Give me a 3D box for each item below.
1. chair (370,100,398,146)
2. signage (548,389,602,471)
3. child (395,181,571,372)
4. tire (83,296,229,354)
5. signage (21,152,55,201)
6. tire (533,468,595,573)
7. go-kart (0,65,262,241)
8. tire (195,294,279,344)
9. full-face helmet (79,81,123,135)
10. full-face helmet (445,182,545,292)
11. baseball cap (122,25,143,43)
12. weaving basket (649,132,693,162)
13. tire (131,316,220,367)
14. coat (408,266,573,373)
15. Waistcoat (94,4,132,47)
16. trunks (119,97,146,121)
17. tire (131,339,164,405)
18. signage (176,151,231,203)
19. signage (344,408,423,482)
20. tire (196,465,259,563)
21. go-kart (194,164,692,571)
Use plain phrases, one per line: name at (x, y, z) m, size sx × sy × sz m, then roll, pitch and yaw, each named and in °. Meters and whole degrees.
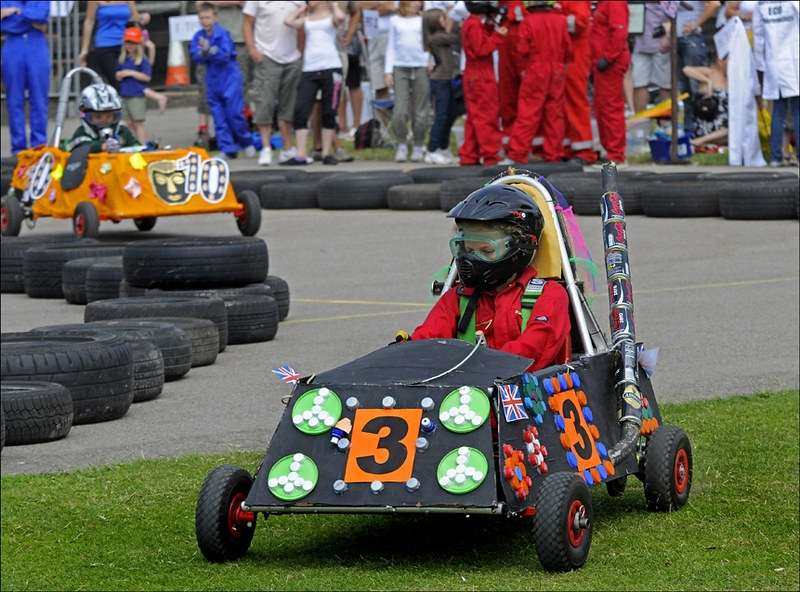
chair at (-0.184, -2.519, 19.871) m, size 0.435 × 0.533 × 0.464 m, roll -2°, pitch -9°, yaw -22°
signage at (0.888, 0.697, 7.292) m, size 0.018 × 0.412 × 0.371 m, roll -21°, pitch -1°, yaw 29°
child at (0.572, -0.091, 8.156) m, size 0.965 × 1.231 × 0.961 m, roll 3°, pitch -2°, yaw -38°
tire at (-1.840, 0.221, 10.738) m, size 1.045 × 0.412 × 1.078 m, roll -1°, pitch 3°, yaw -2°
signage at (-3.560, -1.147, 13.854) m, size 0.077 × 0.447 × 0.433 m, roll 15°, pitch 11°, yaw -29°
tire at (0.816, 1.126, 7.074) m, size 0.227 × 0.513 × 0.494 m, roll -3°, pitch 14°, yaw 29°
go-kart at (-2.715, -1.412, 13.833) m, size 1.621 × 1.459 × 2.282 m, roll -5°, pitch 9°, yaw -42°
tire at (-1.125, 0.175, 10.942) m, size 0.477 × 0.307 × 0.486 m, roll -7°, pitch 1°, yaw -25°
full-face helmet at (-2.935, -1.837, 13.725) m, size 0.369 × 0.441 × 0.475 m, roll -4°, pitch 9°, yaw -22°
full-face helmet at (0.535, -0.335, 7.854) m, size 0.474 × 0.564 × 0.584 m, roll 7°, pitch 7°, yaw 37°
baseball cap at (-3.269, -3.219, 17.313) m, size 0.166 × 0.131 × 0.249 m, roll 1°, pitch 9°, yaw 2°
weaving basket at (3.410, -1.894, 17.811) m, size 0.446 × 0.298 × 0.344 m, roll -3°, pitch 4°, yaw -34°
tire at (-1.584, 0.297, 10.307) m, size 0.559 × 0.215 × 0.553 m, roll 5°, pitch -22°, yaw -36°
coat at (0.608, 0.118, 7.703) m, size 0.531 × 0.275 × 0.748 m, roll 5°, pitch 15°, yaw 24°
Waistcoat at (-3.552, -3.346, 17.410) m, size 0.459 × 0.525 × 0.378 m, roll -4°, pitch 8°, yaw -12°
trunks at (-3.395, -2.414, 17.852) m, size 0.245 × 0.403 × 0.402 m, roll -4°, pitch 15°, yaw -23°
tire at (-1.718, 0.504, 9.390) m, size 0.180 × 0.378 × 0.375 m, roll 0°, pitch 9°, yaw 20°
signage at (-1.883, -1.117, 13.315) m, size 0.458 × 0.471 × 0.063 m, roll 3°, pitch -17°, yaw -5°
signage at (-0.076, 0.746, 6.999) m, size 0.338 × 0.375 × 0.018 m, roll 7°, pitch -31°, yaw 12°
tire at (-0.862, 1.100, 7.183) m, size 0.215 × 0.459 × 0.446 m, roll 2°, pitch 8°, yaw 22°
go-kart at (0.367, 0.326, 7.378) m, size 1.778 × 1.761 × 2.421 m, roll -3°, pitch -3°, yaw 27°
